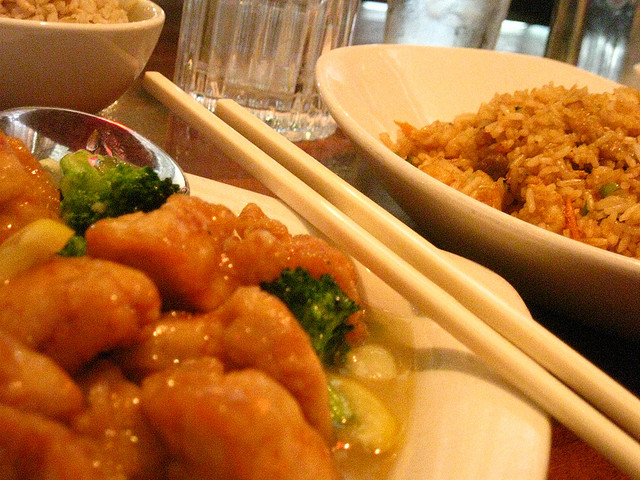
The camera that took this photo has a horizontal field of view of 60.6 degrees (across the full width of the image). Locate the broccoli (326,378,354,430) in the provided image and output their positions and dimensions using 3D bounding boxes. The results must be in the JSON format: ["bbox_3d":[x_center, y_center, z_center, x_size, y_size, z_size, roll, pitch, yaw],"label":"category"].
[{"bbox_3d":[0.027,0.209,0.694,0.046,0.013,0.047,63,16,-3],"label":"broccoli"}]

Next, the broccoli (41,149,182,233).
[{"bbox_3d":[-0.287,-0.064,0.740,0.147,0.058,0.136,1,6,-43],"label":"broccoli"}]

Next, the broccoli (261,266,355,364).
[{"bbox_3d":[-0.036,0.110,0.723,0.121,0.036,0.119,50,21,-6],"label":"broccoli"}]

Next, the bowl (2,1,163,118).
[{"bbox_3d":[-0.472,-0.355,1.067,0.277,0.160,0.285,4,17,-1],"label":"bowl"}]

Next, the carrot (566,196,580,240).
[{"bbox_3d":[0.520,-0.044,1.129,0.011,0.009,0.090,-14,53,9],"label":"carrot"}]

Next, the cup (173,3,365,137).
[{"bbox_3d":[-0.158,-0.436,1.622,0.445,0.516,0.460,2,24,-1],"label":"cup"}]

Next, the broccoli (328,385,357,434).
[{"bbox_3d":[0.027,0.233,0.712,0.048,0.082,0.019,1,48,3],"label":"broccoli"}]

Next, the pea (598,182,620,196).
[{"bbox_3d":[0.613,-0.109,1.157,0.028,0.022,0.028,21,-12,3],"label":"pea"}]
